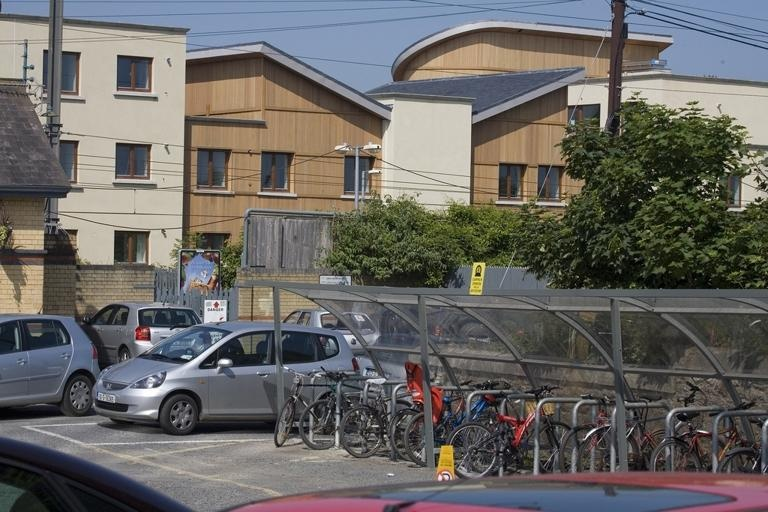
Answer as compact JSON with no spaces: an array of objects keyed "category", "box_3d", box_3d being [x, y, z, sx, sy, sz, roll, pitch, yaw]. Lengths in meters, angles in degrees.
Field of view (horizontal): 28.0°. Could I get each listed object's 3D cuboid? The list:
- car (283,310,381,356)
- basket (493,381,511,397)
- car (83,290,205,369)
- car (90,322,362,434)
[{"category":"car","box_3d":[-1.507,1.698,42.651,1.294,0.999,2.316,-1,6,-30]},{"category":"basket","box_3d":[2.743,2.978,35.351,0.273,0.386,0.386,1,-12,-4]},{"category":"car","box_3d":[-7.157,1.986,43.445,1.819,1.408,2.996,0,3,-34]},{"category":"car","box_3d":[-3.893,2.758,36.913,4.880,1.928,2.927,2,-4,-23]}]
